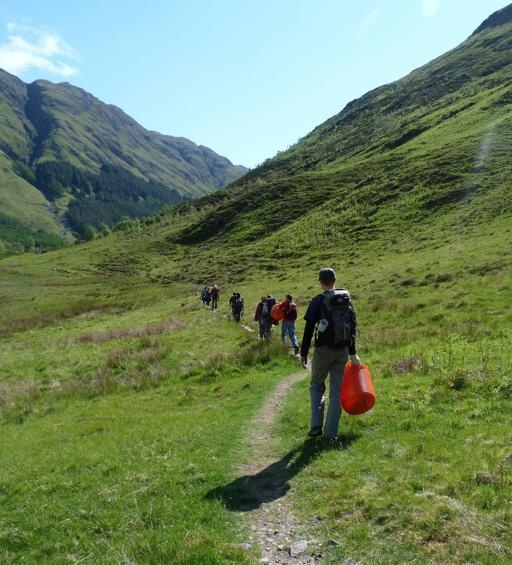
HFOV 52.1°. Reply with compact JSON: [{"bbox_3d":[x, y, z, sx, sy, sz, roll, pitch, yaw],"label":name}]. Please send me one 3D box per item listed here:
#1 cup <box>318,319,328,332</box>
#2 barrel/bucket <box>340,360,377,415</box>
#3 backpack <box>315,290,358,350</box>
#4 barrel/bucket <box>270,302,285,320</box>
[{"bbox_3d":[1.421,0.928,11.279,0.264,0.237,0.111,-8,6,36],"label":"cup"},{"bbox_3d":[2.299,2.363,12.001,0.793,0.769,1.205,6,31,-2],"label":"barrel/bucket"},{"bbox_3d":[1.670,0.812,11.374,0.939,0.962,0.454,-11,5,6],"label":"backpack"},{"bbox_3d":[0.975,1.301,22.755,0.747,0.700,0.537,4,9,20],"label":"barrel/bucket"}]
